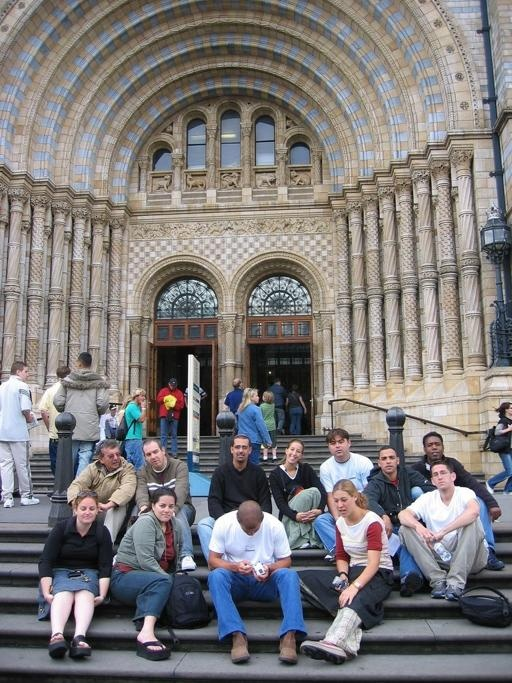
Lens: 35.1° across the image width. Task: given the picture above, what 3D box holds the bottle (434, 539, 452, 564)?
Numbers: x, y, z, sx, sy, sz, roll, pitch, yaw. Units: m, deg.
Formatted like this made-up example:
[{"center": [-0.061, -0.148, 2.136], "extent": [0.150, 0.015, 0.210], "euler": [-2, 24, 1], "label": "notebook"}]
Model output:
[{"center": [1.743, 1.954, 7.519], "extent": [0.127, 0.208, 0.050], "euler": [-39, 6, -16], "label": "bottle"}]

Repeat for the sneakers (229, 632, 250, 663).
[{"center": [-0.125, 2.449, 6.482], "extent": [0.139, 0.218, 0.208], "euler": [-1, -6, -1], "label": "sneakers"}]

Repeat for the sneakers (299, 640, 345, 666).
[{"center": [0.535, 2.398, 6.342], "extent": [0.427, 0.138, 0.168], "euler": [11, 14, -8], "label": "sneakers"}]

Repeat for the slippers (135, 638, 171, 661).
[{"center": [-0.833, 2.506, 6.595], "extent": [0.255, 0.087, 0.124], "euler": [-4, -9, 35], "label": "slippers"}]

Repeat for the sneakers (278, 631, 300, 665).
[{"center": [0.260, 2.438, 6.466], "extent": [0.149, 0.234, 0.182], "euler": [-1, -6, 1], "label": "sneakers"}]

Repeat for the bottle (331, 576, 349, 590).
[{"center": [0.738, 2.107, 7.101], "extent": [0.147, 0.086, 0.144], "euler": [19, -7, 2], "label": "bottle"}]

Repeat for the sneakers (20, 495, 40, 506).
[{"center": [-3.087, 2.180, 11.086], "extent": [0.107, 0.110, 0.288], "euler": [0, -2, 34], "label": "sneakers"}]

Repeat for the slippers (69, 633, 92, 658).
[{"center": [-1.437, 2.470, 6.571], "extent": [0.123, 0.136, 0.341], "euler": [2, -20, -12], "label": "slippers"}]

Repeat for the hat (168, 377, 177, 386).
[{"center": [-1.626, 0.792, 15.900], "extent": [0.172, 0.175, 0.198], "euler": [6, -23, -9], "label": "hat"}]

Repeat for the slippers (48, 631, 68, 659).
[{"center": [-1.584, 2.416, 6.466], "extent": [0.107, 0.118, 0.256], "euler": [0, -45, -13], "label": "slippers"}]
